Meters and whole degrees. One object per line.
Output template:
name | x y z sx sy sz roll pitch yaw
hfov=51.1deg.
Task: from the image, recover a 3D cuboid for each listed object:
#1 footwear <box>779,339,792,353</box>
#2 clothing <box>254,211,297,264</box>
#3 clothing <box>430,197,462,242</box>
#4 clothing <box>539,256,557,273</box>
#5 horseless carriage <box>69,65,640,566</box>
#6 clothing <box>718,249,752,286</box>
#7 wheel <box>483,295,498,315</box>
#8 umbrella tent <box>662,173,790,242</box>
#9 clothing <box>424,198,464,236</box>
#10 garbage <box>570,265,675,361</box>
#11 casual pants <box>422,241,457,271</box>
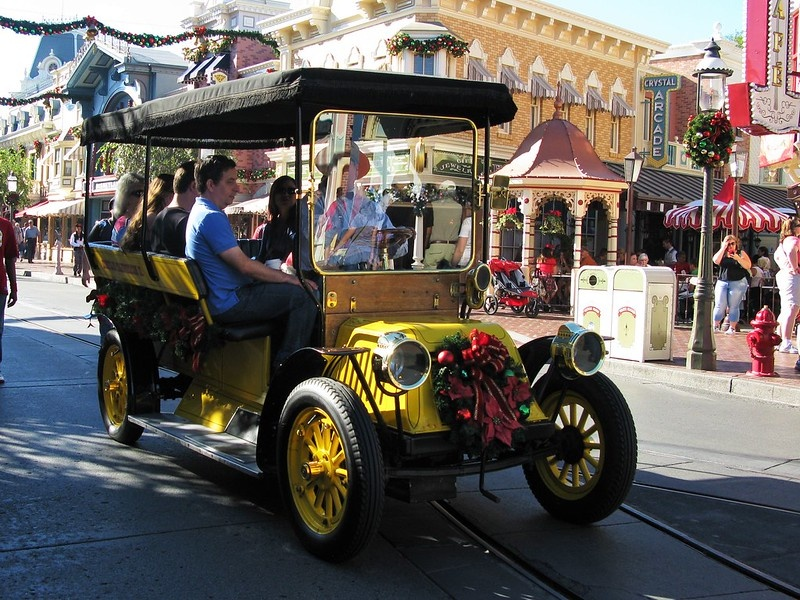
footwear | 6.271 0.763 13.607 0.154 0.224 0.375 3 7 18
clothing | -1.096 -0.536 7.325 0.320 0.582 0.558 1 -1 -36
clothing | 0.372 -0.669 6.742 0.257 0.404 0.198 0 38 0
clothing | 3.692 -0.885 21.215 0.337 0.470 0.457 1 -2 -26
horseless carriage | -0.763 -0.050 7.272 2.589 3.411 5.150 2 0 -37
clothing | 6.299 -0.585 15.944 0.635 0.981 0.491 2 0 13
wheel | 2.039 0.114 18.961 0.081 0.476 0.427 0 0 -28
umbrella tent | 8.806 -2.533 22.389 3.310 1.625 3.546 8 7 25
clothing | 0.370 -0.692 6.756 0.289 0.438 0.225 1 45 1
garbage | 3.481 0.195 13.102 0.774 1.533 1.281 -1 1 -41
casual pants | 0.289 -0.349 6.633 0.178 0.183 0.071 8 6 -24
